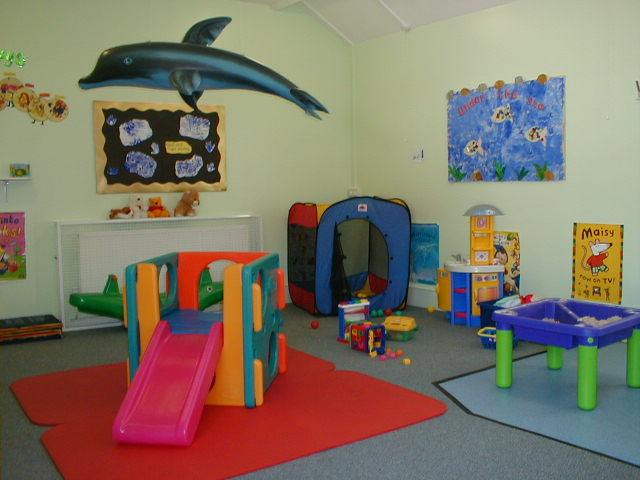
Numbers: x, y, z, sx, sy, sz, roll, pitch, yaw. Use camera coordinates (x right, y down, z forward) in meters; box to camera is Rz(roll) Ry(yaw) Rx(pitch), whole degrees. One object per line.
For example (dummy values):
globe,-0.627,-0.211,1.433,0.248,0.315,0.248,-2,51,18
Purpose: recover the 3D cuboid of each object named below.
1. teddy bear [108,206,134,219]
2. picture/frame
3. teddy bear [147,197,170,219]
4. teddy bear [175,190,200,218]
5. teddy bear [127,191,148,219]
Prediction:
teddy bear,-1.989,-0.279,5.295,0.197,0.100,0.116,-4,8,-23
picture/frame,-1.724,-0.983,5.494,1.006,0.727,0.020,-3,4,-30
teddy bear,-1.688,-0.319,5.540,0.272,0.286,0.185,-2,-6,-23
teddy bear,-1.402,-0.372,5.579,0.262,0.289,0.216,-4,9,-1
teddy bear,-1.854,-0.343,5.393,0.193,0.237,0.220,-4,9,-19
